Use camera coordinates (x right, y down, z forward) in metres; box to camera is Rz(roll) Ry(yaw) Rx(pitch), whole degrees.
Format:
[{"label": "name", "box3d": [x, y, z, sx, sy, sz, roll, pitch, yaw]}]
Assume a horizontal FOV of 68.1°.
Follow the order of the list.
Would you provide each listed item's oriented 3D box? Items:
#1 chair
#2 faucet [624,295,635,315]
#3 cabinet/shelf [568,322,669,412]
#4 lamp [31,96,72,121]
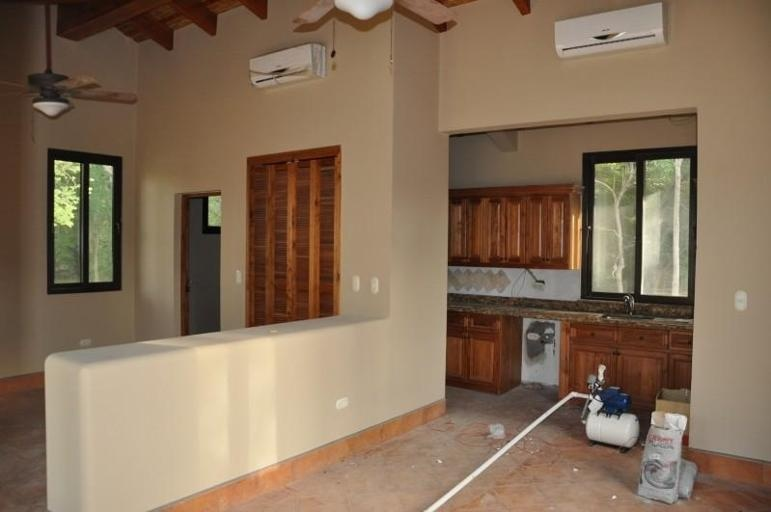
[{"label": "chair", "box3d": [1.466, 1.387, 8.395, 1.147, 1.166, 0.682, 2, 10, 5]}, {"label": "faucet", "box3d": [3.405, 0.676, 7.973, 0.159, 0.251, 0.246, 5, 11, 22]}, {"label": "cabinet/shelf", "box3d": [3.064, 1.424, 7.361, 1.192, 1.094, 0.514, -1, -3, 30]}, {"label": "lamp", "box3d": [-4.389, -1.933, 7.431, 0.466, 0.231, 0.477, 5, 10, 34]}]
